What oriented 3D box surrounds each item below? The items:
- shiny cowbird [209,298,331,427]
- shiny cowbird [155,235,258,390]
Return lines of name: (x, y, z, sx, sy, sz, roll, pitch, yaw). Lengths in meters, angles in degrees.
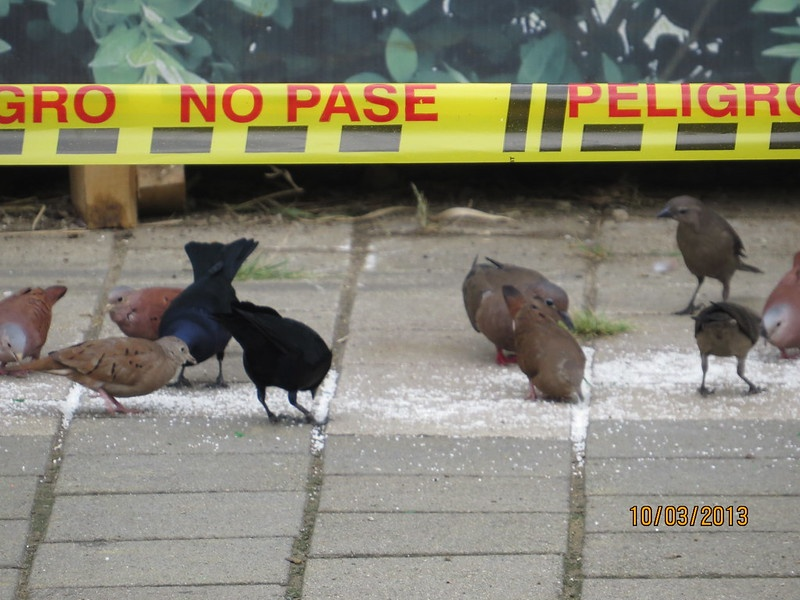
shiny cowbird: (-0.676, 0.361, 8.610, 0.597, 0.809, 0.268, -8, 26, -9)
shiny cowbird: (-0.985, 0.017, 9.091, 0.399, 1.033, 0.659, 9, -2, 13)
